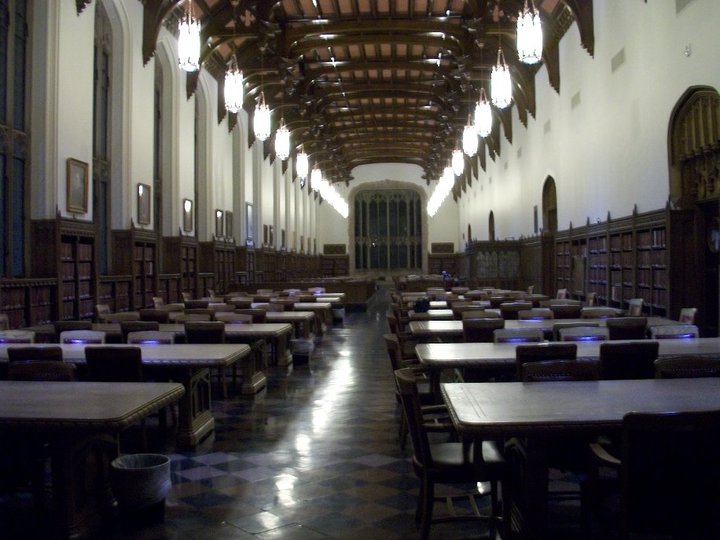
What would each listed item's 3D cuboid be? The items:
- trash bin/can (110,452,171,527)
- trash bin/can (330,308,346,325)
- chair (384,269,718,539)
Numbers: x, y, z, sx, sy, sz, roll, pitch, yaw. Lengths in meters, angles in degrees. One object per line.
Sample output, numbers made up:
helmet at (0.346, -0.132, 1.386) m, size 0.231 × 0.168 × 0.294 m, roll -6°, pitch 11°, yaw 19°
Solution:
trash bin/can at (-1.815, 1.801, 5.039) m, size 0.418 × 0.482 × 0.527 m, roll 1°, pitch -3°, yaw -2°
trash bin/can at (-0.667, 1.420, 18.911) m, size 0.333 × 0.515 × 0.400 m, roll 1°, pitch 7°, yaw 7°
chair at (1.581, 1.338, 5.220) m, size 2.478 × 1.436 × 2.657 m, roll -3°, pitch -2°, yaw 3°
